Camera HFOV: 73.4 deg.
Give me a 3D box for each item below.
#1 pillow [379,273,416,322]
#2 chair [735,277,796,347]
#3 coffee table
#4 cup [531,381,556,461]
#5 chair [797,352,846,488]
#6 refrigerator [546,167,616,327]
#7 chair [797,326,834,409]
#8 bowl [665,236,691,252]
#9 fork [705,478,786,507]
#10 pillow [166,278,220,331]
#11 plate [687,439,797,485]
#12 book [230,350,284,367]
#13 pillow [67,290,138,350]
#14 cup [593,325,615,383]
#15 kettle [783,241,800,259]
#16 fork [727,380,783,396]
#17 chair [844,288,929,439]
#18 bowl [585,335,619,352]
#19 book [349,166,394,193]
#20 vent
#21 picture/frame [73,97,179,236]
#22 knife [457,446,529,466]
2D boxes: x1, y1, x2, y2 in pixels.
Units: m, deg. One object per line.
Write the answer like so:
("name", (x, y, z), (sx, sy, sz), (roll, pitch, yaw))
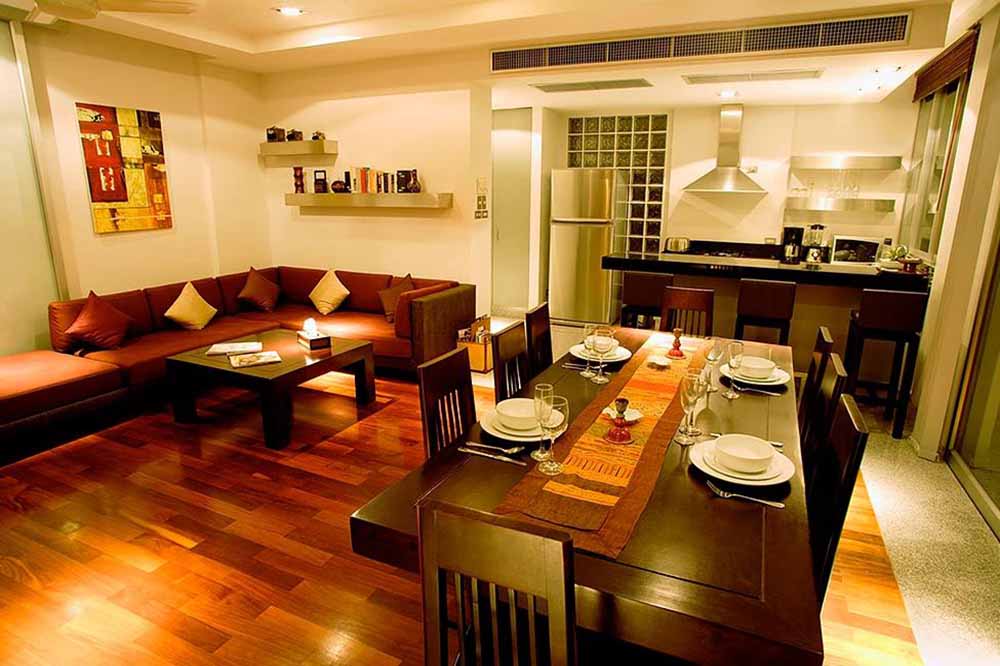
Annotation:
("pillow", (-1.059, -0.407, 7.189), (0.500, 0.450, 0.145), (-21, -25, 32))
("chair", (2.441, -0.220, 6.090), (0.481, 0.800, 0.449), (7, 24, 21))
("coffee table", (-1.839, 0.213, 5.793), (1.177, 0.533, 1.217), (8, 15, 26))
("cup", (0.233, 0.458, 3.576), (0.142, 0.383, 0.146), (0, 12, 0))
("chair", (1.877, 0.512, 3.881), (0.391, 0.710, 0.388), (5, 42, 25))
("refrigerator", (1.053, -1.103, 8.688), (0.899, 1.942, 0.469), (4, 18, 12))
("chair", (2.317, 0.229, 4.887), (0.362, 0.661, 0.355), (4, 53, 26))
("bowl", (2.243, -1.123, 8.516), (0.245, 0.123, 0.260), (-2, 8, 0))
("fork", (1.263, 0.799, 3.411), (0.317, 0.043, 0.048), (12, 51, 16))
("pillow", (-3.105, -0.286, 6.728), (0.359, 0.401, 0.472), (2, 16, 8))
("plate", (1.240, 0.667, 3.618), (0.500, 0.050, 0.489), (-5, -16, -5))
("book", (-2.082, 0.203, 5.676), (0.399, 0.043, 0.332), (-7, 17, -24))
("pillow", (-3.631, -0.114, 6.071), (0.473, 0.464, 0.412), (0, 17, -1))
("cup", (0.691, 0.140, 4.486), (0.162, 0.342, 0.158), (2, 6, 0))
("kettle", (3.381, -0.939, 7.726), (0.172, 0.174, 0.164), (-3, 13, -7))
("fork", (1.605, 0.337, 4.168), (0.281, 0.047, 0.056), (6, 37, 25))
("chair", (3.371, 0.212, 5.905), (0.537, 1.220, 0.462), (6, 16, 19))
("bowl", (0.683, 0.061, 4.459), (0.149, 0.082, 0.143), (-1, 12, 0))
("book", (-1.451, -1.665, 7.392), (0.641, 0.258, 0.222), (8, 18, 25))
("vent", (2.899, -2.257, 8.419), (0.942, 1.084, 0.378), (5, 18, 15))
("picture/frame", (-3.761, -1.628, 6.682), (0.214, 1.166, 0.837), (9, 19, 26))
("knife", (-0.038, 0.648, 3.584), (0.273, 0.013, 0.037), (11, 24, 26))
